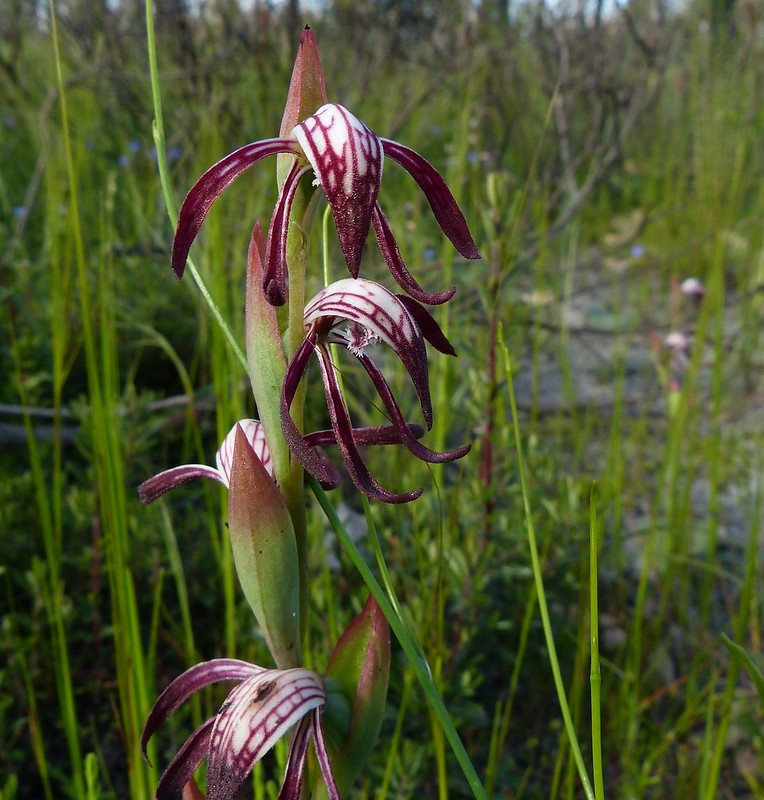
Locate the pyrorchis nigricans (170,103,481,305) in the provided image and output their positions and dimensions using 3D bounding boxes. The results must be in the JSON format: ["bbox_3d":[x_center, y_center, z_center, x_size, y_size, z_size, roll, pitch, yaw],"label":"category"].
[{"bbox_3d":[-0.056,-0.208,0.946,0.188,0.199,0.213,-4,9,-2],"label":"pyrorchis nigricans"}]

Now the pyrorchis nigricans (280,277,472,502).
[{"bbox_3d":[-0.005,-0.010,1.015,0.193,0.224,0.131,4,15,-1],"label":"pyrorchis nigricans"}]
